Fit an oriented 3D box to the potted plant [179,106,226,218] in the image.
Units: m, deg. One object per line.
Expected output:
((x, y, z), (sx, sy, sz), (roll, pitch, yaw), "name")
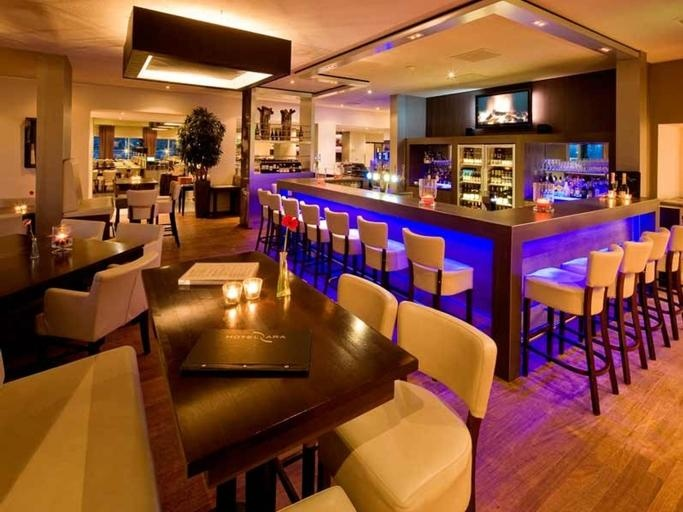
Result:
((-3.099, -2.057, 11.368), (0.794, 2.405, 0.892), (11, 15, 37), "potted plant")

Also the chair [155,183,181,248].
((-3.007, -0.666, 8.716), (0.478, 0.846, 0.469), (-6, -3, -36), "chair")

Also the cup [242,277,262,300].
((-0.599, 0.210, 3.378), (0.112, 0.115, 0.130), (0, 4, -3), "cup")

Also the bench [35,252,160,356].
((-2.101, 0.440, 4.696), (0.888, 1.228, 0.866), (6, 10, 12), "bench")

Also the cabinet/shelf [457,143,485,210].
((2.454, -1.380, 9.597), (0.480, 1.417, 0.272), (8, 21, 31), "cabinet/shelf")

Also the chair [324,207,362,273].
((0.014, -0.194, 5.943), (0.385, 0.730, 0.426), (12, 20, 21), "chair")

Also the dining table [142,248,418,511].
((-0.443, 0.621, 3.166), (1.281, 0.643, 1.418), (-6, 16, -29), "dining table")

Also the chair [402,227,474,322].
((0.910, 0.191, 4.882), (0.627, 1.013, 0.653), (7, 21, 26), "chair")

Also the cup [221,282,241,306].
((-0.718, 0.243, 3.338), (0.114, 0.117, 0.132), (0, 3, -12), "cup")

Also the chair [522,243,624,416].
((2.083, 0.547, 4.596), (0.566, 1.374, 0.711), (-14, 20, -36), "chair")

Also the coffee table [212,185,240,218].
((-2.815, -1.303, 12.163), (0.695, 0.766, 0.741), (1, 3, 31), "coffee table")

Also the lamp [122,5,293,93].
((-1.347, -1.996, 4.987), (1.436, 0.517, 0.760), (-7, 16, -30), "lamp")

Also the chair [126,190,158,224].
((-3.174, -0.774, 8.083), (0.458, 0.803, 0.547), (-2, 29, -24), "chair")

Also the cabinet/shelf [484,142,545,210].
((2.931, -1.310, 9.168), (0.400, 1.380, 0.671), (-12, 13, -37), "cabinet/shelf")
